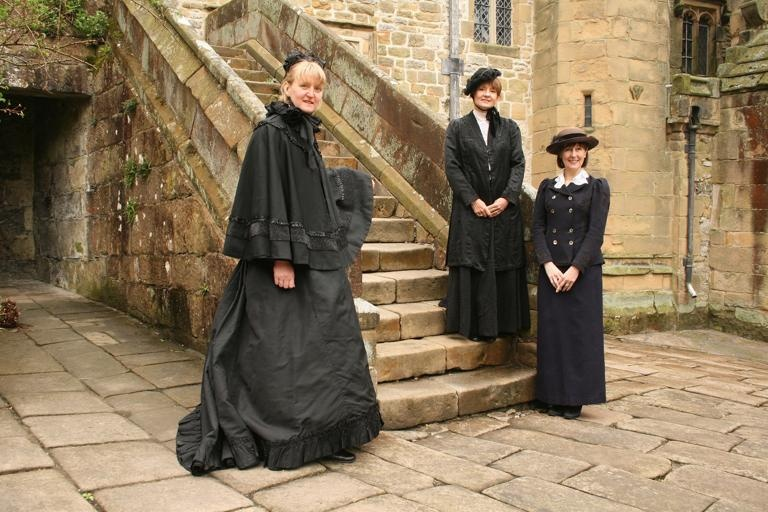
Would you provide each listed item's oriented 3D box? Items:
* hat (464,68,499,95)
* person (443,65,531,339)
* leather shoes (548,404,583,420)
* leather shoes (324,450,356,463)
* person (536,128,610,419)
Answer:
[{"bbox_3d":[0.967,-1.738,7.750,0.358,0.253,0.237,2,6,25],"label":"hat"},{"bbox_3d":[1.047,-0.322,7.829,0.856,2.329,0.512,0,6,4],"label":"person"},{"bbox_3d":[1.724,1.483,7.488,0.334,0.123,0.120,2,5,1],"label":"leather shoes"},{"bbox_3d":[-0.357,1.663,6.520,0.251,0.093,0.103,-4,-1,8],"label":"leather shoes"},{"bbox_3d":[1.784,0.093,7.521,0.693,2.605,0.495,1,6,11],"label":"person"}]
